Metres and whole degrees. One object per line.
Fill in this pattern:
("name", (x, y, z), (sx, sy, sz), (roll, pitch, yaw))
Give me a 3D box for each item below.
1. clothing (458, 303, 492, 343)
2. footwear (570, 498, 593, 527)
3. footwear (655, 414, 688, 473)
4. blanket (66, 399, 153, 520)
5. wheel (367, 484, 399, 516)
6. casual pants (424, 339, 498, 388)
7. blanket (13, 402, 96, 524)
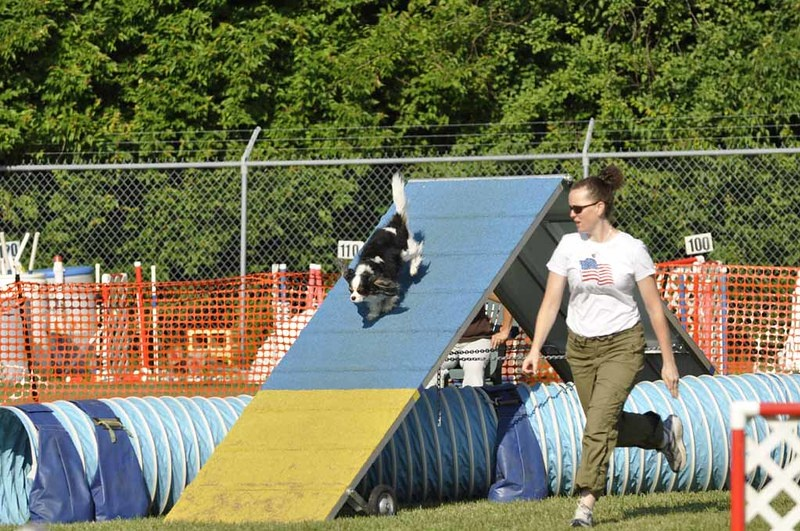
("clothing", (1.061, 0.827, 26.406), (0.560, 0.485, 0.298), (-2, 2, -19))
("footwear", (2.272, 3.096, 23.798), (0.265, 0.333, 0.727), (0, -6, 7))
("footwear", (3.465, 2.257, 24.242), (0.248, 0.782, 0.321), (1, 13, 36))
("blanket", (-3.656, 2.550, 24.545), (0.764, 1.398, 0.350), (-7, -8, -43))
("wheel", (-0.229, 2.993, 24.377), (0.399, 0.374, 0.196), (-1, 2, -8))
("casual pants", (0.951, 1.313, 26.387), (0.526, 0.963, 0.281), (18, -3, 35))
("blanket", (-4.314, 2.588, 24.418), (0.802, 1.335, 0.373), (-1, 2, -3))
